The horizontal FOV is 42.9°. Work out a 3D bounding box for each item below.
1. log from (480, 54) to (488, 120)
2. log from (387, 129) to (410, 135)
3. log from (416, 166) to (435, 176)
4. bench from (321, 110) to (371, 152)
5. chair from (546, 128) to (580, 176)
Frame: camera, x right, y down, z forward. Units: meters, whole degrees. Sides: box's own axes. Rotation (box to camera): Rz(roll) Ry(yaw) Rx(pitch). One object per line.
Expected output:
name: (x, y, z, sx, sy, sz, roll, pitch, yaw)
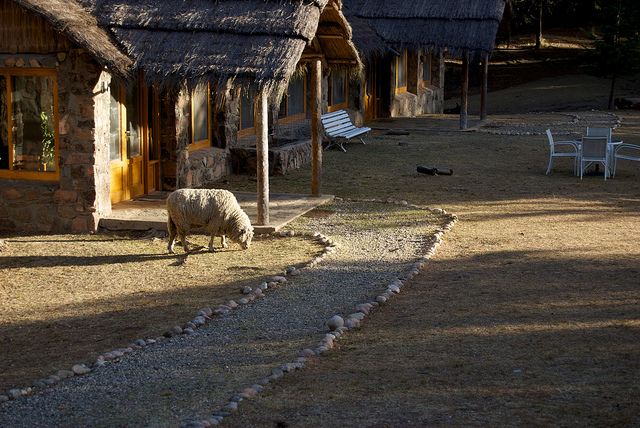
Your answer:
log: (5.787, -4.359, 28.719, 0.194, 2.122, 1.127, 1, 6, 11)
log: (2.555, -2.601, 26.464, 0.710, 0.125, 0.437, 0, 5, 1)
log: (2.557, -1.019, 19.689, 0.143, 0.200, 0.442, -5, 7, -38)
bench: (0.702, -2.424, 23.503, 1.081, 0.768, 1.983, 13, 17, 21)
chair: (6.389, -1.569, 21.414, 0.756, 0.938, 4.541, 1, 6, 17)
